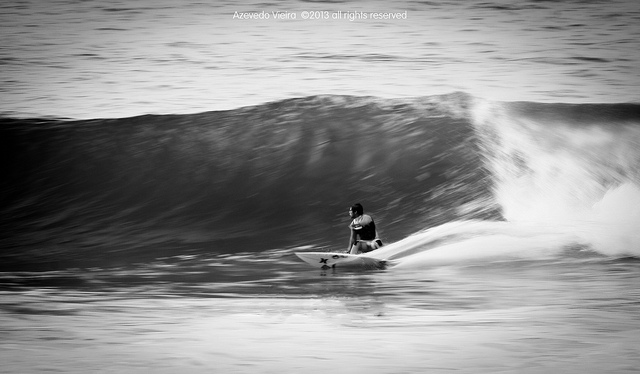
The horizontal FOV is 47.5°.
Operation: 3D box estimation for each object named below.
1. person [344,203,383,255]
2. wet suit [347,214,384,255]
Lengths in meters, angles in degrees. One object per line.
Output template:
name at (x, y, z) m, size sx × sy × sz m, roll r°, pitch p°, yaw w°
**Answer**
person at (0.659, 0.647, 11.276) m, size 0.542 × 0.756 × 0.540 m, roll -4°, pitch 17°, yaw 5°
wet suit at (0.682, 0.731, 11.266) m, size 0.510 × 0.591 × 0.413 m, roll -4°, pitch 17°, yaw 5°
